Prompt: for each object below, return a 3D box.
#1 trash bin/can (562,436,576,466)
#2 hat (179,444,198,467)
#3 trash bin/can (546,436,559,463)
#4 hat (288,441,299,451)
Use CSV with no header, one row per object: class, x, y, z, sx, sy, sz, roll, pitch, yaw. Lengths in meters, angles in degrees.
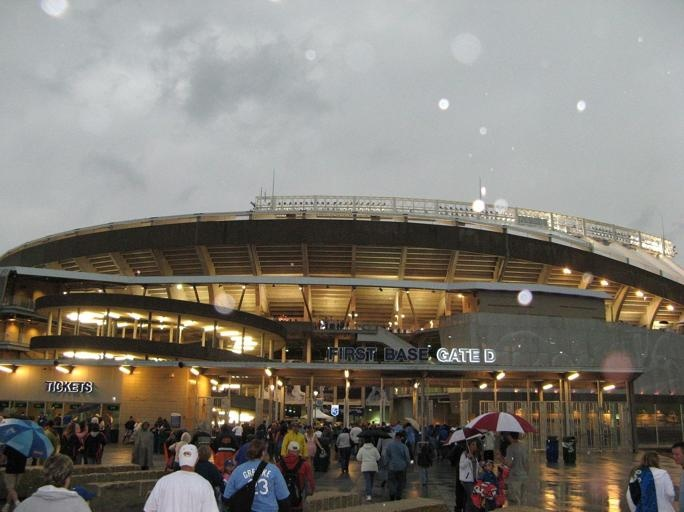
trash bin/can,11.556,9.883,33.012,0.606,1.372,1.110,-6,-19,20
hat,-2.835,3.667,11.872,0.316,0.411,0.289,5,-19,-14
trash bin/can,10.893,10.071,33.670,0.571,1.357,1.549,-5,-19,16
hat,-1.111,4.376,14.858,0.276,0.245,0.456,5,-9,-7
